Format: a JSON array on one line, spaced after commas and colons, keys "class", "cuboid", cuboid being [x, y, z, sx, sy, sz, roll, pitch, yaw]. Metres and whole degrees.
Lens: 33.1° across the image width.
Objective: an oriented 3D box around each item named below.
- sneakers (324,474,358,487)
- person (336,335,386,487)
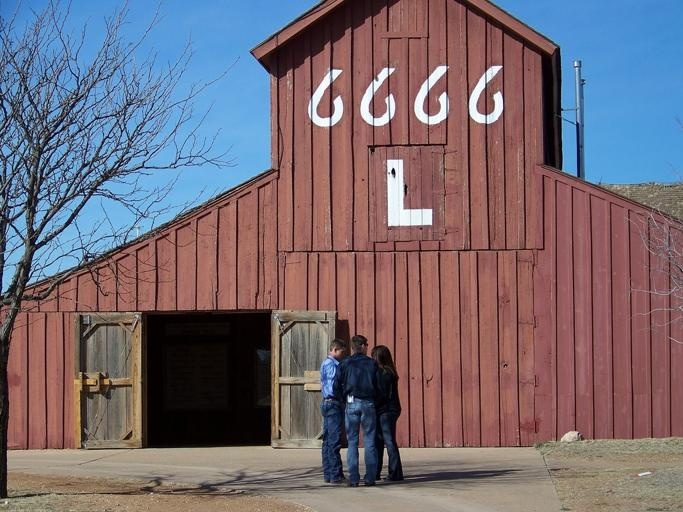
[{"class": "sneakers", "cuboid": [-0.011, 3.950, 20.015, 0.572, 0.300, 0.218, -2, -7, 3]}, {"class": "person", "cuboid": [0.349, 2.705, 19.917, 0.750, 2.561, 0.496, -4, -9, 8]}]
